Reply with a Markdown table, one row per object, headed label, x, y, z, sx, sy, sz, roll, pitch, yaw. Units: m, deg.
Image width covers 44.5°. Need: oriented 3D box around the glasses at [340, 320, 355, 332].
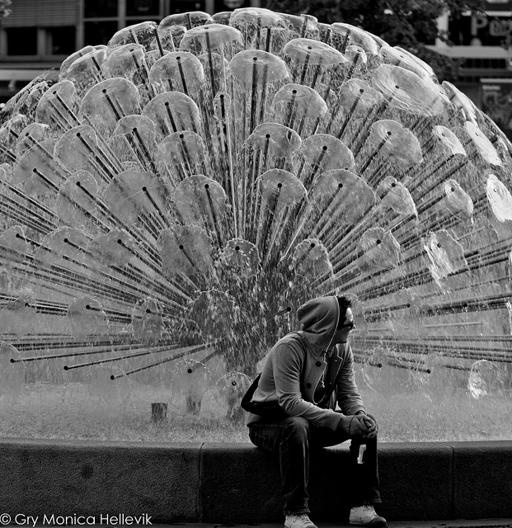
| label | x | y | z | sx | sy | sz | roll | pitch | yaw |
| --- | --- | --- | --- | --- | --- | --- | --- | --- | --- |
| glasses | 0.444 | 0.297 | 3.038 | 0.071 | 0.031 | 0.113 | -4 | -18 | 1 |
